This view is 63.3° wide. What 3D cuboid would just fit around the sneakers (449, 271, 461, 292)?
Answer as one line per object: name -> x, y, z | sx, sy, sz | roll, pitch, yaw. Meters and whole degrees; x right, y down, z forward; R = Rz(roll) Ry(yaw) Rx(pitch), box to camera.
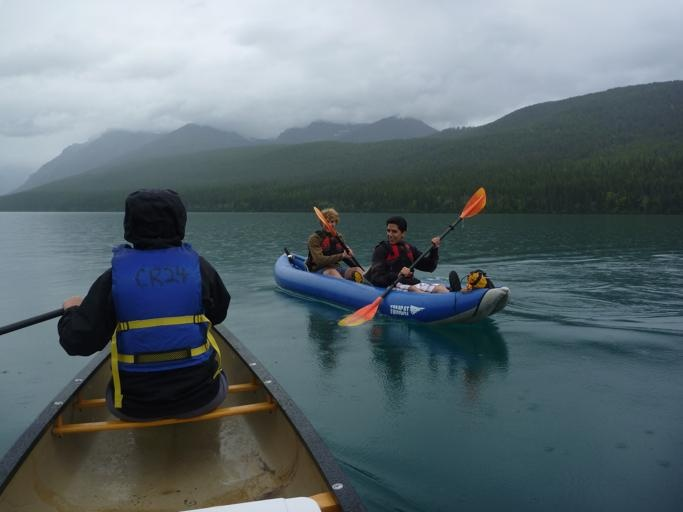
sneakers -> 2.007, 0.440, 9.825 | 0.193, 0.369, 0.095 | -6, 0, 10
